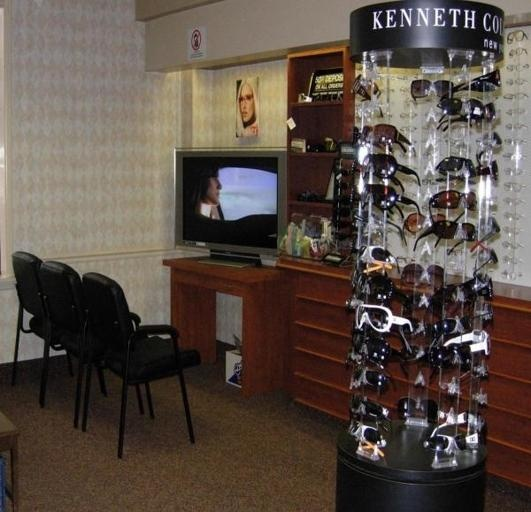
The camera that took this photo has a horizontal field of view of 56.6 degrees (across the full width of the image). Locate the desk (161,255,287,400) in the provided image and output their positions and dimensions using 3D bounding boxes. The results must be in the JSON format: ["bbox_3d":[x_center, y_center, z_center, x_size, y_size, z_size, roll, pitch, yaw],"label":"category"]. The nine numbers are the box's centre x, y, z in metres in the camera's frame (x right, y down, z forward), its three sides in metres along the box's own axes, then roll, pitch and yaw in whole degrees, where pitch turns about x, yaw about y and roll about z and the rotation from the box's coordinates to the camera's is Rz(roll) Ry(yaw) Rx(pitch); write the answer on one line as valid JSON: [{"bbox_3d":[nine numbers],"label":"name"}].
[{"bbox_3d":[-0.346,0.615,4.241,0.378,0.893,0.933,-2,5,-37],"label":"desk"}]

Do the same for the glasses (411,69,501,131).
[{"bbox_3d":[0.534,-0.435,1.411,0.242,0.172,0.138,3,5,22],"label":"glasses"}]

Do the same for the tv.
[{"bbox_3d":[-0.365,-0.487,4.596,1.458,1.067,0.095,5,6,40],"label":"tv"}]

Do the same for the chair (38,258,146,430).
[{"bbox_3d":[-1.317,0.595,3.666,0.536,1.129,0.602,6,6,40],"label":"chair"}]

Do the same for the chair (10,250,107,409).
[{"bbox_3d":[-1.648,0.593,4.130,0.838,1.434,0.913,5,16,-18],"label":"chair"}]

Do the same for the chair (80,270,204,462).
[{"bbox_3d":[-0.832,0.664,3.236,0.663,1.152,0.712,5,8,30],"label":"chair"}]
